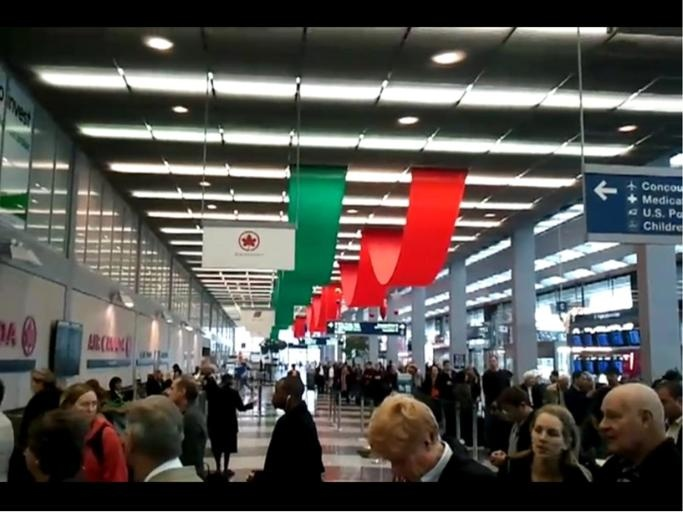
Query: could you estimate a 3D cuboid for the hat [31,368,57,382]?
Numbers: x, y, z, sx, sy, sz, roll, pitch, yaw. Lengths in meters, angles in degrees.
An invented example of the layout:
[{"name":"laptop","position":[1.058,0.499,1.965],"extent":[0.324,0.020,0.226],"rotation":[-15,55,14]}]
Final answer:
[{"name":"hat","position":[-3.070,1.235,5.577],"extent":[0.165,0.191,0.207],"rotation":[15,-4,-35]}]
